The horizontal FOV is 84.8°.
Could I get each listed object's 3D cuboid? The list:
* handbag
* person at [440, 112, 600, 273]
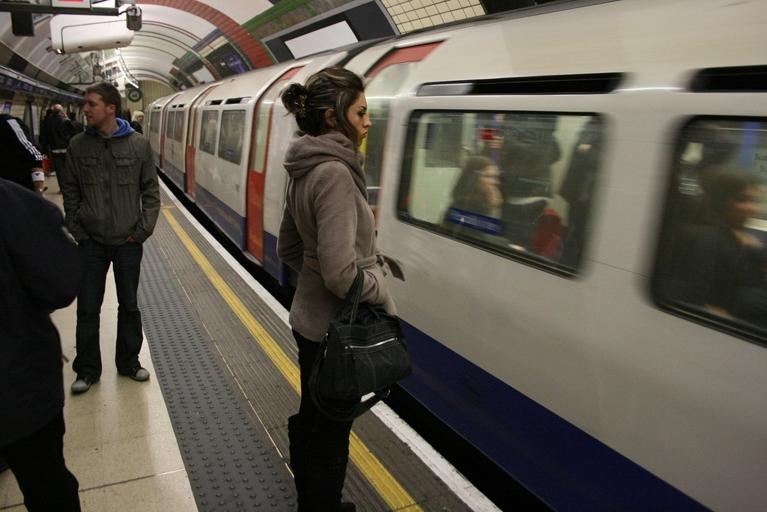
[{"bbox_3d":[-0.087,0.420,1.839,0.396,0.342,0.208,-12,24,-33],"label":"handbag"},{"bbox_3d":[0.882,-0.395,2.624,0.236,0.851,0.971,-3,24,-40],"label":"person"}]
